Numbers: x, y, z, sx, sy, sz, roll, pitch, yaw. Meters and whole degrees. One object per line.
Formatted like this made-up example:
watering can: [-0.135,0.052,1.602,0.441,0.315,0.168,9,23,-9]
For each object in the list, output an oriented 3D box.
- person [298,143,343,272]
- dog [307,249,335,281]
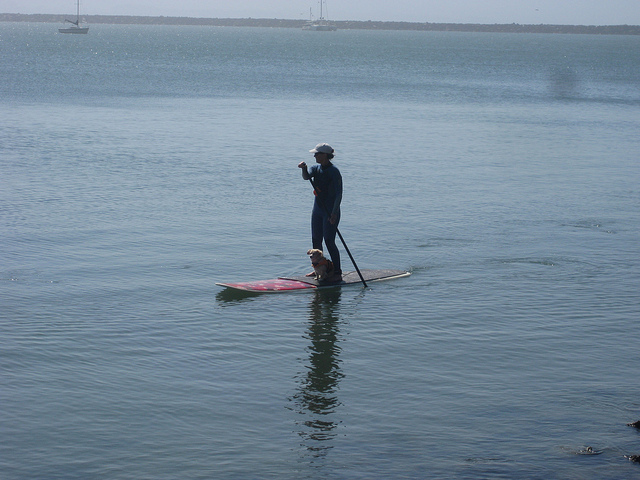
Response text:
person: [0.077,-0.647,20.430,0.773,2.224,0.512,7,14,15]
dog: [-0.018,0.466,20.313,0.395,0.475,0.773,-7,-10,28]
